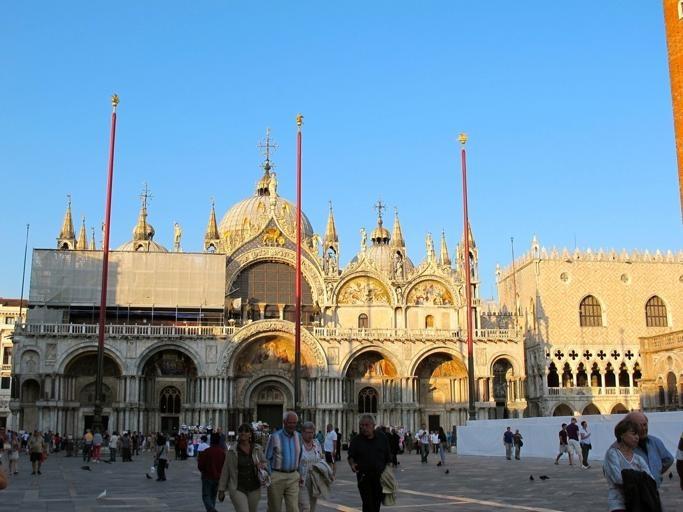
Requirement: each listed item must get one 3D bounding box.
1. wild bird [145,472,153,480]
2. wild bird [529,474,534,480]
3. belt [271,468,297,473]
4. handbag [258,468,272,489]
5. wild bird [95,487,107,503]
[{"bbox_3d":[-7.245,8.367,36.365,0.181,0.286,0.653,-7,-20,-1],"label":"wild bird"},{"bbox_3d":[6.479,7.667,33.064,0.148,0.207,0.292,-2,-55,8],"label":"wild bird"},{"bbox_3d":[-1.374,5.197,23.273,0.626,0.108,0.143,1,-14,-9],"label":"belt"},{"bbox_3d":[-1.840,5.346,23.103,0.234,0.671,0.446,-9,3,-2],"label":"handbag"},{"bbox_3d":[-7.445,7.475,29.926,0.259,0.330,0.529,-28,8,13],"label":"wild bird"}]
